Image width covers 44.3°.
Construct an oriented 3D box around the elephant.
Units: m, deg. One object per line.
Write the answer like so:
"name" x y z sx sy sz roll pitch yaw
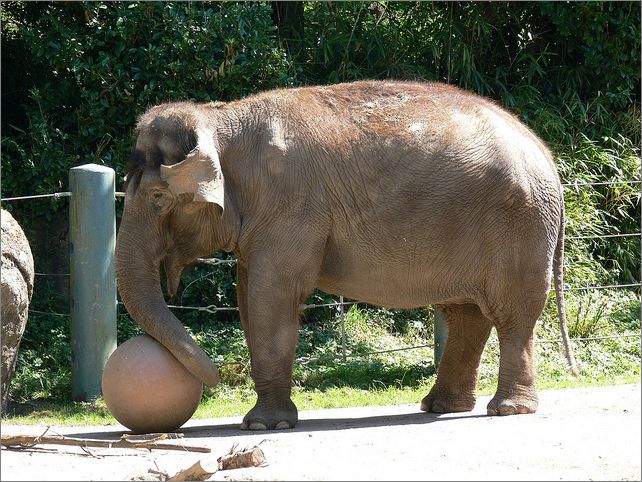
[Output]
"elephant" 0.188 0.050 5.064 2.780 2.231 1.271 -1 9 -4
